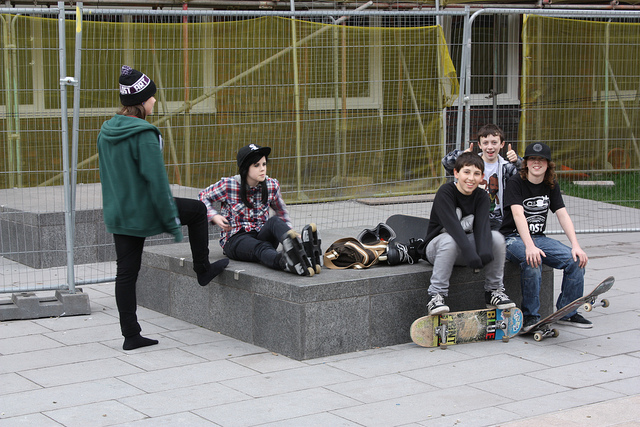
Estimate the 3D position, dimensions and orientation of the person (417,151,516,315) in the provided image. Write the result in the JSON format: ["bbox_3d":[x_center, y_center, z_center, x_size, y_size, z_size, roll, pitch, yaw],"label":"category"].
[{"bbox_3d":[1.421,0.173,6.659,1.023,1.519,1.163,1,4,15],"label":"person"}]

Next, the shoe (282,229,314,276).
[{"bbox_3d":[-0.209,0.360,6.424,0.297,0.436,0.161,0,13,1],"label":"shoe"}]

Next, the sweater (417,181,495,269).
[{"bbox_3d":[1.357,0.080,6.585,0.474,0.887,0.521,4,1,-11],"label":"sweater"}]

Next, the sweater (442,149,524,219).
[{"bbox_3d":[1.801,-0.157,7.174,0.715,1.243,0.333,-2,-27,9],"label":"sweater"}]

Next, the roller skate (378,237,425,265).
[{"bbox_3d":[0.816,0.389,6.905,0.347,0.161,0.256,-22,12,-21],"label":"roller skate"}]

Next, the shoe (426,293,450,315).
[{"bbox_3d":[1.110,0.845,6.419,0.186,0.177,0.177,1,13,5],"label":"shoe"}]

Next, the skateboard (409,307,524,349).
[{"bbox_3d":[1.379,1.067,6.667,1.548,0.414,0.229,-3,6,-19],"label":"skateboard"}]

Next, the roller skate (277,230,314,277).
[{"bbox_3d":[-0.184,0.423,6.501,0.197,0.533,0.232,-38,15,-34],"label":"roller skate"}]

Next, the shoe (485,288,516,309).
[{"bbox_3d":[1.724,0.824,6.691,0.123,0.157,0.363,-4,-1,-33],"label":"shoe"}]

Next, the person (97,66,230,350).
[{"bbox_3d":[-1.506,-0.040,6.710,1.285,2.678,0.938,-4,5,-23],"label":"person"}]

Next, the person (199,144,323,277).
[{"bbox_3d":[-0.533,-0.073,6.843,0.872,1.236,1.661,-3,6,-33],"label":"person"}]

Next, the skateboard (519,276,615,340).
[{"bbox_3d":[2.481,0.973,6.919,0.757,0.126,0.205,-35,-22,13],"label":"skateboard"}]

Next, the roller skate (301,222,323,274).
[{"bbox_3d":[-0.042,0.329,6.568,0.177,0.479,0.190,-7,-2,-32],"label":"roller skate"}]

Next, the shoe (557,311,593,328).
[{"bbox_3d":[2.634,1.079,7.033,0.411,0.182,0.156,0,-3,10],"label":"shoe"}]

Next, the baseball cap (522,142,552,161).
[{"bbox_3d":[2.210,-0.632,6.925,0.254,0.162,0.246,4,14,18],"label":"baseball cap"}]
